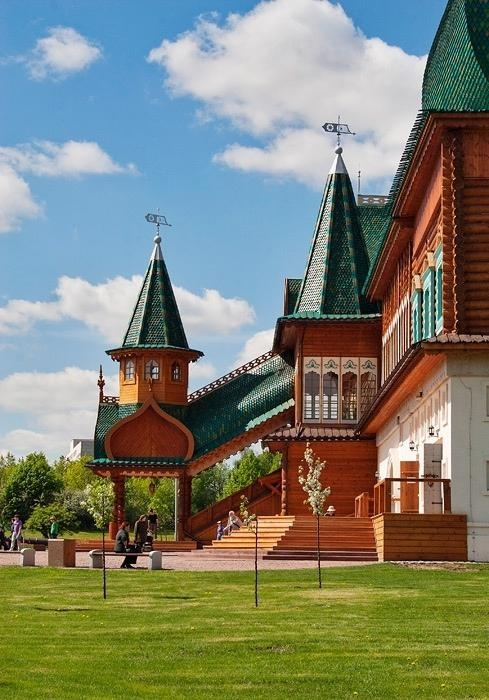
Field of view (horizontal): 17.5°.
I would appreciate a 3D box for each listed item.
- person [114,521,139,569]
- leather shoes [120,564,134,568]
[{"bbox_3d":[-2.351,3.824,31.449,0.412,0.888,0.360,-1,-11,-5],"label":"person"},{"bbox_3d":[-2.286,4.088,30.334,0.122,0.068,0.189,-2,-6,-24],"label":"leather shoes"}]
